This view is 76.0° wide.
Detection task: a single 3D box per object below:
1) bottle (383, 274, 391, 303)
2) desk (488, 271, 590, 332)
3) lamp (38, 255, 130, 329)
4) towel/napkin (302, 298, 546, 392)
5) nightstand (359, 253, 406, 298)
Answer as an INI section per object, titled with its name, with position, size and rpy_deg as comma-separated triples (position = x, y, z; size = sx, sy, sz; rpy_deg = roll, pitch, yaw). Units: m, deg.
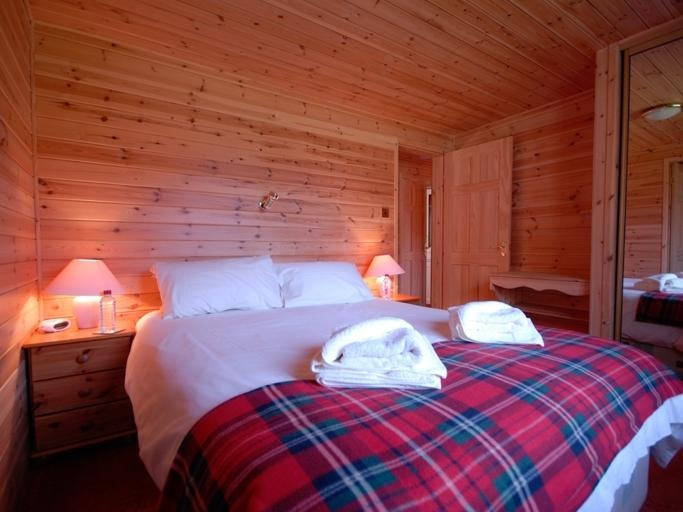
[bottle]
position = 0.427, 0.296, 4.281
size = 0.070, 0.237, 0.265
rpy_deg = -6, -1, 5
[desk]
position = 1.928, 0.442, 4.259
size = 0.451, 0.431, 0.799
rpy_deg = -1, 2, -42
[lamp]
position = -1.767, 0.246, 3.163
size = 0.584, 0.424, 0.571
rpy_deg = -3, 5, -44
[towel/napkin]
position = 0.411, 0.423, 2.078
size = 0.953, 0.126, 0.484
rpy_deg = -3, 5, 8
[nightstand]
position = 0.427, 0.184, 4.426
size = 0.519, 0.374, 0.498
rpy_deg = -5, 6, -40
